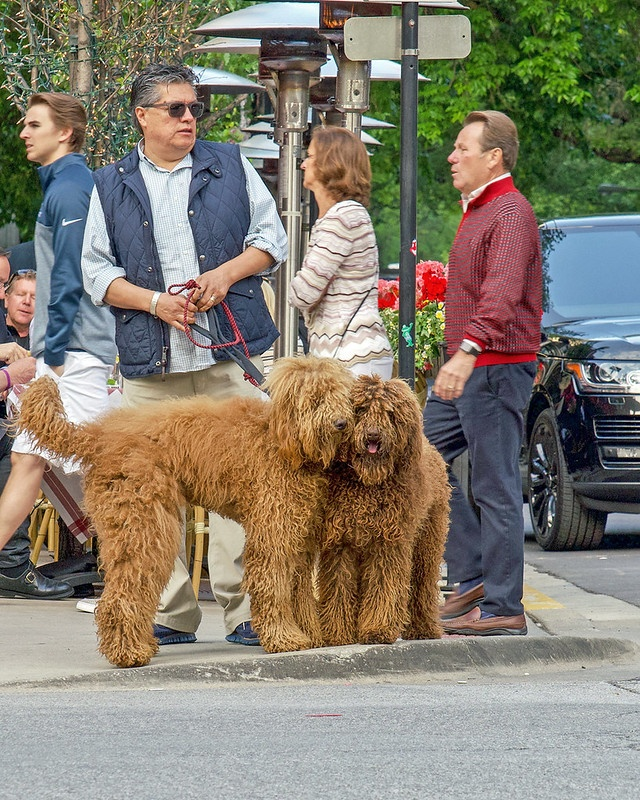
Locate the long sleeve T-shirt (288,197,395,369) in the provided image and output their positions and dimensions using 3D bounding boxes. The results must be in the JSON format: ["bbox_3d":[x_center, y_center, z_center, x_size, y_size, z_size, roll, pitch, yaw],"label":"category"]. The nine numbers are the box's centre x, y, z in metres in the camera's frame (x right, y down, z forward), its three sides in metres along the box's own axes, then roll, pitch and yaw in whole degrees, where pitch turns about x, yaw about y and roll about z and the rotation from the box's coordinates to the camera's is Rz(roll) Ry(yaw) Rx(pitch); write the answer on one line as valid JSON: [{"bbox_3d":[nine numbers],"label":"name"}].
[{"bbox_3d":[0.073,-0.409,5.564,0.356,0.675,0.463,-6,-6,-1],"label":"long sleeve T-shirt"}]

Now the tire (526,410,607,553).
[{"bbox_3d":[1.670,0.563,10.080,0.368,0.996,1.015,1,-1,-4],"label":"tire"}]

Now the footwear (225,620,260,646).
[{"bbox_3d":[-0.284,0.921,5.887,0.080,0.093,0.199,2,-4,-38],"label":"footwear"}]

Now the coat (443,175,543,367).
[{"bbox_3d":[0.701,-0.525,6.108,0.418,0.789,0.486,-6,-6,4],"label":"coat"}]

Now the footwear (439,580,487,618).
[{"bbox_3d":[0.612,0.882,6.475,0.263,0.101,0.095,-24,3,-19],"label":"footwear"}]

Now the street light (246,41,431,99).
[{"bbox_3d":[0.268,-2.544,11.796,1.535,0.373,1.507,0,0,-4],"label":"street light"}]

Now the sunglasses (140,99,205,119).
[{"bbox_3d":[-0.570,-1.112,5.844,0.140,0.044,0.136,-1,1,38],"label":"sunglasses"}]

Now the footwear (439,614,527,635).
[{"bbox_3d":[0.670,0.926,6.138,0.341,0.107,0.125,2,-6,-2],"label":"footwear"}]

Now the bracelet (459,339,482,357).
[{"bbox_3d":[0.593,-0.190,5.890,0.084,0.058,0.090,18,-3,-42],"label":"bracelet"}]

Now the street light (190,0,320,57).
[{"bbox_3d":[-0.375,-2.428,9.711,0.832,0.206,0.816,-3,6,-11],"label":"street light"}]

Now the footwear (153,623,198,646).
[{"bbox_3d":[-0.569,0.939,5.955,0.208,0.097,0.068,5,0,-24],"label":"footwear"}]

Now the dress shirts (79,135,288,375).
[{"bbox_3d":[-0.511,-0.555,5.878,0.805,0.914,0.267,-5,-6,-7],"label":"dress shirts"}]

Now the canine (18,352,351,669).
[{"bbox_3d":[-0.403,0.401,5.358,1.163,1.058,0.442,-6,-6,7],"label":"canine"}]
